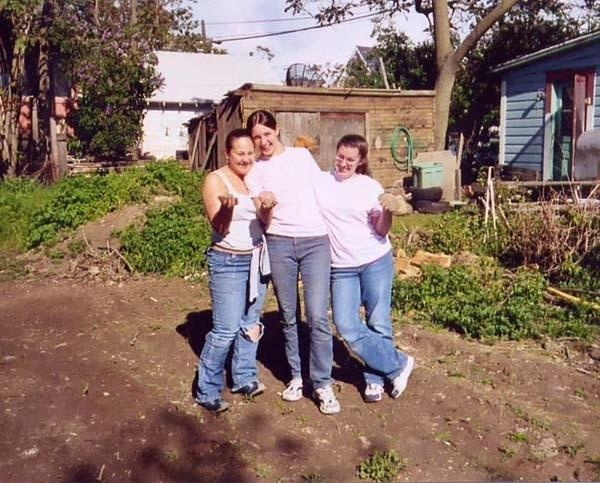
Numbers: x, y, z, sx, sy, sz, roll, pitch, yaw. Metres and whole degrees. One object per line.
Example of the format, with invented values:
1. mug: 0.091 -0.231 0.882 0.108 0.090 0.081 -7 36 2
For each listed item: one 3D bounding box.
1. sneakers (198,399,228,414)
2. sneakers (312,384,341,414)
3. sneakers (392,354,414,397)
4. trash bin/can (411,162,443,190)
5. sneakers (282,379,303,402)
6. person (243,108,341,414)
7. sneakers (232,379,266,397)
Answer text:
1. sneakers: -0.865 1.600 5.612 0.233 0.127 0.143 -2 13 12
2. sneakers: 0.278 1.575 5.686 0.172 0.156 0.360 -7 21 -7
3. sneakers: 1.072 1.396 5.919 0.183 0.560 0.176 4 20 -6
4. trash bin/can: 3.454 -1.780 15.348 0.786 0.683 0.550 -10 15 -31
5. sneakers: -0.068 1.523 5.849 0.131 0.124 0.256 5 0 14
6. person: -0.030 0.223 5.608 0.909 2.919 0.347 4 9 20
7. sneakers: -0.527 1.464 5.864 0.312 0.176 0.160 -13 19 -16
